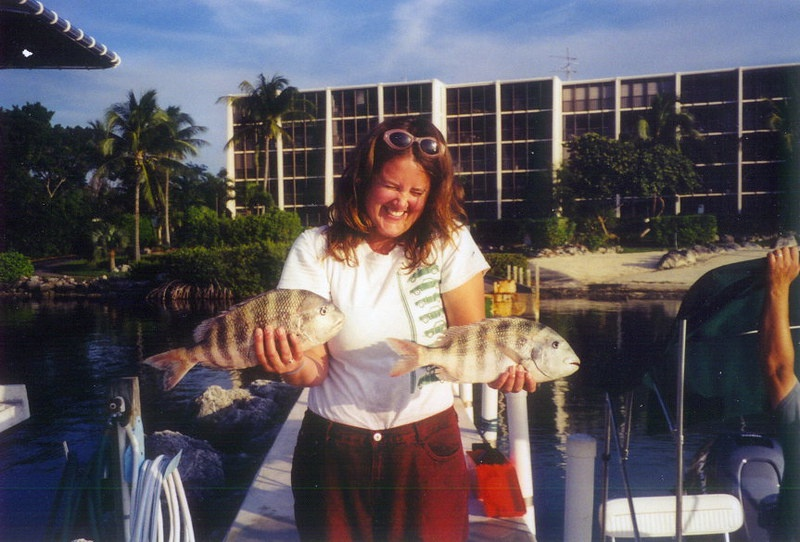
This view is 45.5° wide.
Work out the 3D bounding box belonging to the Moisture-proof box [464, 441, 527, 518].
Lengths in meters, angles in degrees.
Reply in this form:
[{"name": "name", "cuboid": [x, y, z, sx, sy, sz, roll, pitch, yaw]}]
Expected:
[{"name": "Moisture-proof box", "cuboid": [1.159, 2.470, 11.435, 0.593, 0.836, 0.625, -16, 6, -33]}]
